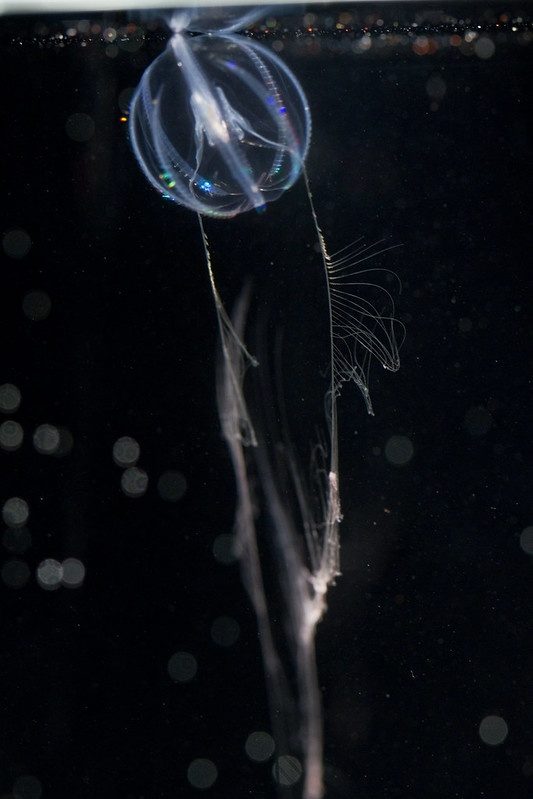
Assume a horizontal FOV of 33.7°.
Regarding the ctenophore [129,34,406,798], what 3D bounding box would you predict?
[{"bbox_3d":[0.054,-0.014,1.620,0.387,1.449,0.321,-4,10,12],"label":"ctenophore"}]
